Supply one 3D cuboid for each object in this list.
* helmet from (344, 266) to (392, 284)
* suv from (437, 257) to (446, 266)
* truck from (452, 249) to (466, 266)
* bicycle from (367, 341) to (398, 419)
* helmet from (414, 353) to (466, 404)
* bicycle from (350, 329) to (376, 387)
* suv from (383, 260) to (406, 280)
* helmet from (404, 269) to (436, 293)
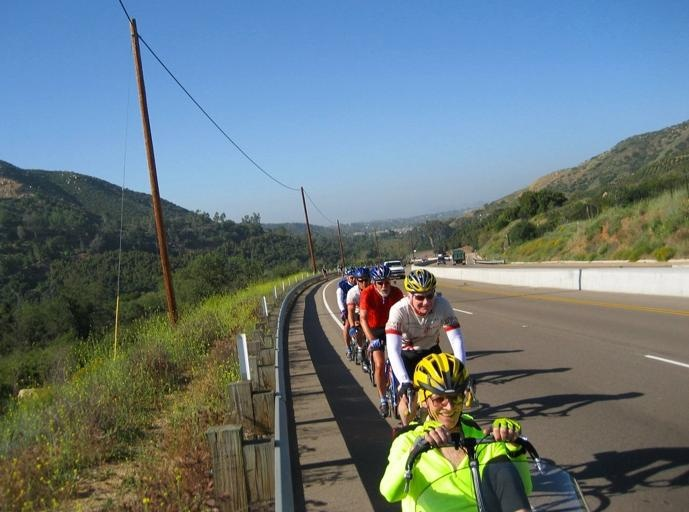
[{"bbox_3d":[0.555,0.334,9.657,0.449,0.287,0.691,0,3,-7],"label":"helmet"},{"bbox_3d":[15.532,0.725,84.870,0.959,1.154,1.978,-2,-6,9],"label":"suv"},{"bbox_3d":[17.116,0.268,79.325,1.467,2.071,2.885,0,9,9],"label":"truck"},{"bbox_3d":[0.697,2.123,8.752,0.474,0.795,1.150,-5,6,-7],"label":"bicycle"},{"bbox_3d":[0.954,1.174,5.348,0.312,0.391,0.500,-4,10,-2],"label":"helmet"},{"bbox_3d":[0.372,2.174,11.906,0.441,0.705,1.011,-18,-10,-10],"label":"bicycle"},{"bbox_3d":[4.289,1.100,44.208,1.561,1.915,4.045,-2,-5,3],"label":"suv"},{"bbox_3d":[1.038,0.350,7.319,0.405,0.321,0.377,-8,1,12],"label":"helmet"}]
